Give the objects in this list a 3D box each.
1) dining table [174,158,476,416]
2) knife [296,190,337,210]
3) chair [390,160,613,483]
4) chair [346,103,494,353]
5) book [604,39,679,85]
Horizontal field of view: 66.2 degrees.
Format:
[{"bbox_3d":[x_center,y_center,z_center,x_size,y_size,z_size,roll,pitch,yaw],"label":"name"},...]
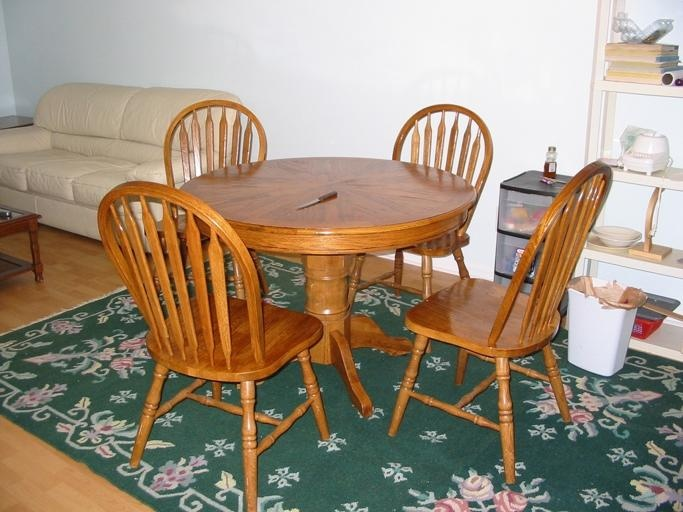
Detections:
[{"bbox_3d":[-0.067,0.157,2.470,1.228,0.751,1.204,9,16,42],"label":"dining table"},{"bbox_3d":[-0.086,-0.218,2.137,0.054,0.038,0.279,21,31,33],"label":"knife"},{"bbox_3d":[0.591,0.199,2.072,0.832,1.078,0.771,-8,17,-13],"label":"chair"},{"bbox_3d":[0.521,-0.290,2.907,0.624,0.505,0.933,0,60,7],"label":"chair"},{"bbox_3d":[1.394,-0.852,2.442,0.298,0.156,0.273,3,17,11],"label":"book"}]
